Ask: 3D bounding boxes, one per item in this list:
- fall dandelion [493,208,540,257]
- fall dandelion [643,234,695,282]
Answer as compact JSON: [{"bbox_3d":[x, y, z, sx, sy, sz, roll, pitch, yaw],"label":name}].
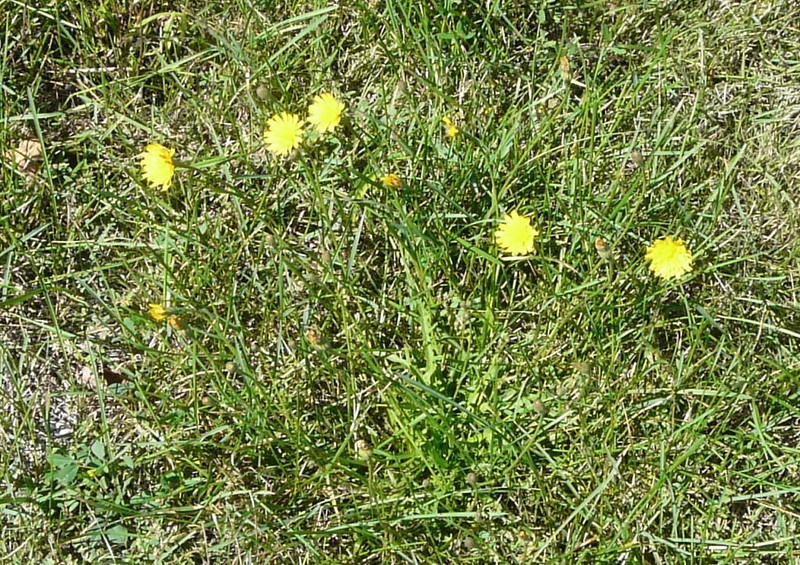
[{"bbox_3d":[0.382,-0.163,2.180,0.103,0.110,0.050,-37,61,1],"label":"fall dandelion"},{"bbox_3d":[0.820,-0.074,2.130,0.119,0.063,0.128,-18,83,1],"label":"fall dandelion"}]
